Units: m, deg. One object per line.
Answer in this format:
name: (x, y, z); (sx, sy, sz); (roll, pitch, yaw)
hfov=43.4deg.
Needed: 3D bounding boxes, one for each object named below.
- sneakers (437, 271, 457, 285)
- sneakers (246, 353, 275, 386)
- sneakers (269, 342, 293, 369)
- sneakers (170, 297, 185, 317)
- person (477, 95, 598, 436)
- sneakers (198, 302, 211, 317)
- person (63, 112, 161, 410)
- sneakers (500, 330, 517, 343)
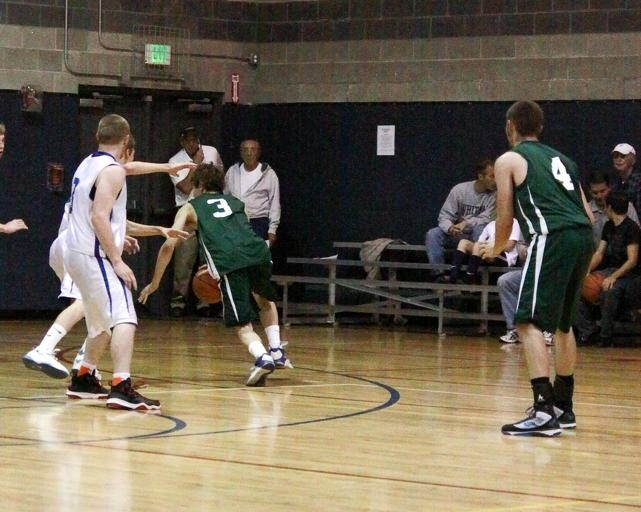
sneakers: (1.276, 0.215, 8.031); (0.105, 0.143, 0.338); (4, 2, 11)
sneakers: (-0.390, 0.713, 5.155); (0.108, 0.289, 0.132); (3, 40, -39)
sneakers: (-0.303, 0.705, 5.663); (0.090, 0.208, 0.282); (1, 0, 18)
sneakers: (-1.614, 0.581, 9.096); (0.141, 0.218, 0.201); (-1, 6, 5)
person: (1.149, 0.037, 4.192); (0.505, 1.700, 0.527); (-2, 1, -43)
sneakers: (-1.329, 0.607, 9.119); (0.147, 0.170, 0.120); (0, 5, 2)
person: (-1.181, 0.122, 4.454); (0.380, 1.403, 0.659); (0, 1, -40)
sneakers: (1.808, 0.764, 7.660); (0.181, 0.133, 0.084); (1, 0, 12)
